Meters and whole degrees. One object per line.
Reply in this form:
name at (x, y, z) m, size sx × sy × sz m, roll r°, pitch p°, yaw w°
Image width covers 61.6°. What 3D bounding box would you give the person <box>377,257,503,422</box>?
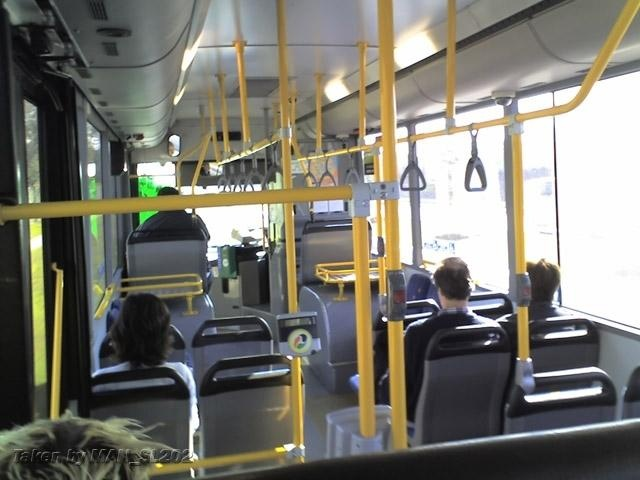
person at (0.675, 0.625, 3.169) m, size 0.578 × 0.974 × 0.791 m, roll -2°, pitch 3°, yaw -5°
